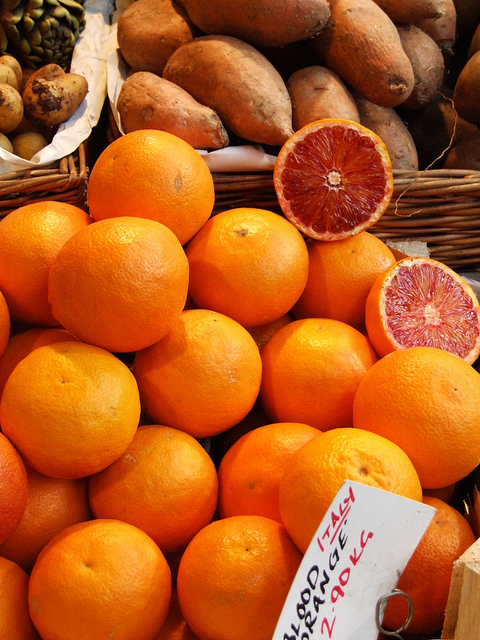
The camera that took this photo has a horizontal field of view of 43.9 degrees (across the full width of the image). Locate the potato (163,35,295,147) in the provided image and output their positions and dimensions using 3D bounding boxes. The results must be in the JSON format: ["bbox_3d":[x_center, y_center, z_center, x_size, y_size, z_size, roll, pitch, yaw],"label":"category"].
[{"bbox_3d":[0.035,-0.417,1.108,0.228,0.185,0.250,21,38,37],"label":"potato"}]

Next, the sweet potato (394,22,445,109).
[{"bbox_3d":[0.392,-0.526,1.244,0.143,0.176,0.164,9,26,30],"label":"sweet potato"}]

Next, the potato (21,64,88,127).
[{"bbox_3d":[-0.387,-0.451,1.198,0.116,0.071,0.114,8,56,12],"label":"potato"}]

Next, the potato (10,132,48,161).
[{"bbox_3d":[-0.417,-0.347,1.183,0.079,0.043,0.060,-10,50,-26],"label":"potato"}]

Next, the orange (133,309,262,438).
[{"bbox_3d":[-0.036,0.050,0.799,0.177,0.173,0.179,-4,51,-16],"label":"orange"}]

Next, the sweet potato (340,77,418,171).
[{"bbox_3d":[0.290,-0.410,1.262,0.200,0.171,0.240,3,29,6],"label":"sweet potato"}]

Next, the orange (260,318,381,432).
[{"bbox_3d":[0.114,0.070,0.857,0.152,0.142,0.146,8,4,4],"label":"orange"}]

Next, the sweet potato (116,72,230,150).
[{"bbox_3d":[-0.119,-0.339,1.044,0.204,0.094,0.099,26,44,9],"label":"sweet potato"}]

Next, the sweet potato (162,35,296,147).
[{"bbox_3d":[0.003,-0.406,1.098,0.240,0.194,0.265,21,37,37],"label":"sweet potato"}]

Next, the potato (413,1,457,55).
[{"bbox_3d":[0.439,-0.637,1.339,0.089,0.128,0.081,13,38,22],"label":"potato"}]
